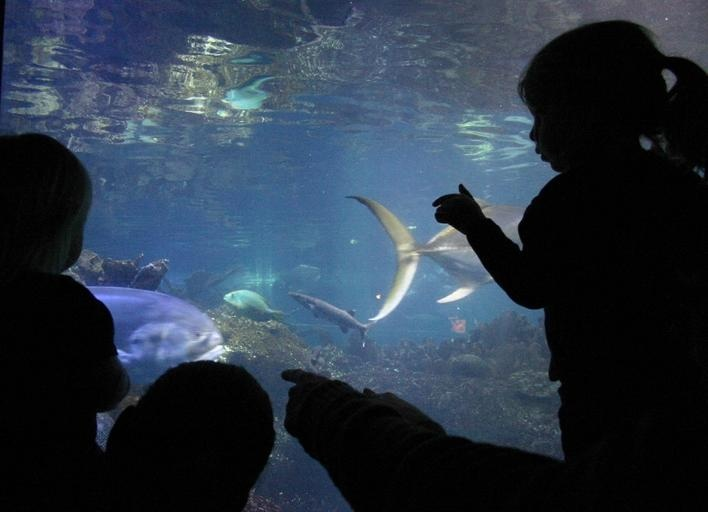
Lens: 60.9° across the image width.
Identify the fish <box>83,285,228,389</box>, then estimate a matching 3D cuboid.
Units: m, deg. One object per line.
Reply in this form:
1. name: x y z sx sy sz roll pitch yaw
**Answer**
1. fish: -2.035 0.794 6.287 1.283 0.324 1.286 25 16 -9
